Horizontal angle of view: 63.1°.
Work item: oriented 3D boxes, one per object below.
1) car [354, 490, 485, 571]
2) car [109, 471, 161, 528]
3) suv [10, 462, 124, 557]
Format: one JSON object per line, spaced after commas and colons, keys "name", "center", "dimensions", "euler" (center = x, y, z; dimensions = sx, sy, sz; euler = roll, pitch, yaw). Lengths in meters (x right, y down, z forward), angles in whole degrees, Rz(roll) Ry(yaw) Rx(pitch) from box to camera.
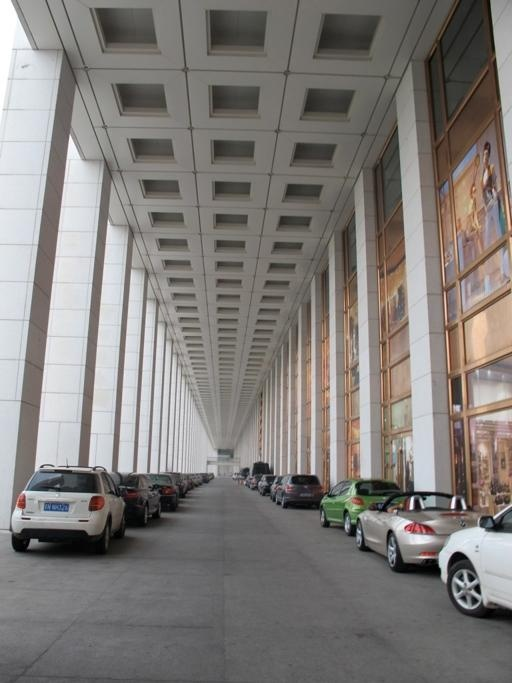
{"name": "car", "center": [2.680, 3.141, 7.501], "dimensions": [1.248, 1.127, 2.708], "euler": [0, -11, -5]}
{"name": "car", "center": [-3.786, 5.045, 13.340], "dimensions": [0.952, 1.227, 2.750], "euler": [-1, -9, 2]}
{"name": "suv", "center": [-3.394, 3.149, 8.035], "dimensions": [1.201, 1.528, 2.751], "euler": [-1, -9, -1]}
